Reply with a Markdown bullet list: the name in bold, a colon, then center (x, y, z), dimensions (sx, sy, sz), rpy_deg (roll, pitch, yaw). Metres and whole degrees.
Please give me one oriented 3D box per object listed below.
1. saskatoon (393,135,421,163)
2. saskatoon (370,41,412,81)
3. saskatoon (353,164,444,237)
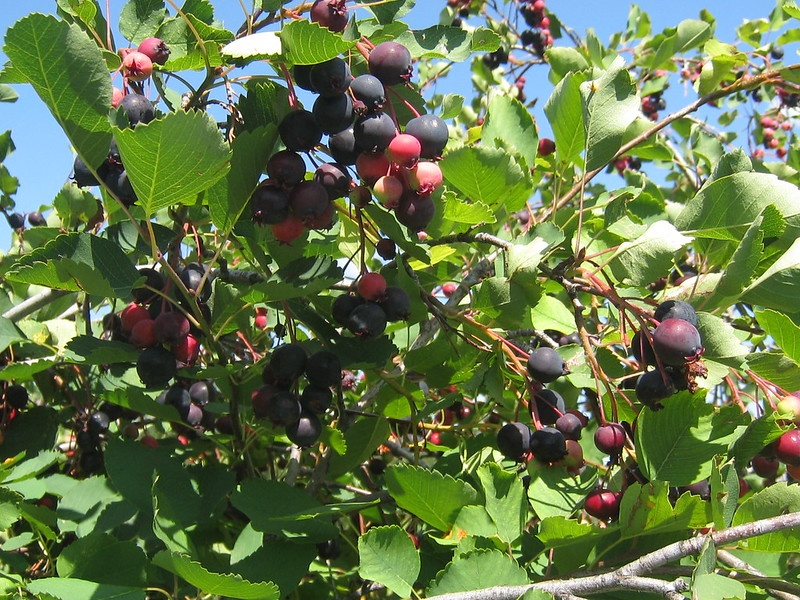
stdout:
- **saskatoon**: center (0.014, -0.522, 3.151), dimensions (0.089, 0.110, 0.090), rpy_deg (6, -4, -22)
- **saskatoon**: center (-0.037, -0.846, 3.176), dimensions (0.142, 0.132, 0.102), rpy_deg (-1, -35, 17)
- **saskatoon**: center (0.030, -0.361, 3.217), dimensions (0.247, 0.235, 0.098), rpy_deg (58, -10, -10)
